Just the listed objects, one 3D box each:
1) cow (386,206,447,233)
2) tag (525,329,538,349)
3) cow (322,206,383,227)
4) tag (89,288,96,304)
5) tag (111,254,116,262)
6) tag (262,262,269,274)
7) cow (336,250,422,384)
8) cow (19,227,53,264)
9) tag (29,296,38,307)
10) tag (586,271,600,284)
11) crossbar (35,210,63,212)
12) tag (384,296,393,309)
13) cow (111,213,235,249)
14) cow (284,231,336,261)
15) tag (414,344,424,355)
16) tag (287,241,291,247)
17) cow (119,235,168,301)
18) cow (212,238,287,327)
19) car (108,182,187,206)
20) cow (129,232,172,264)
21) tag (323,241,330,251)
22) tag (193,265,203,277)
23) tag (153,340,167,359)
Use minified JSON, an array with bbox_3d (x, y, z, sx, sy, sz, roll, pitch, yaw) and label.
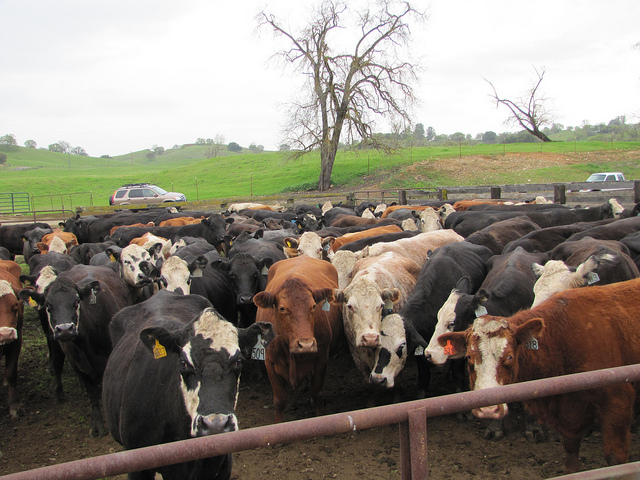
[{"bbox_3d":[2.828,-0.605,13.652,0.656,1.062,2.154,-11,6,-27],"label":"cow"},{"bbox_3d":[2.008,0.964,4.433,0.082,0.106,0.107,-10,8,-21],"label":"tag"},{"bbox_3d":[1.090,-0.761,15.318,1.490,0.771,0.519,-10,33,-15],"label":"cow"},{"bbox_3d":[-3.029,0.748,6.241,0.080,0.238,0.174,-6,7,-27],"label":"tag"},{"bbox_3d":[-3.825,0.361,8.688,0.064,0.106,0.201,0,-11,-7],"label":"tag"},{"bbox_3d":[-0.879,0.474,7.821,0.131,0.149,0.149,0,6,0],"label":"tag"},{"bbox_3d":[0.890,0.858,6.788,0.838,1.189,2.391,-2,1,8],"label":"cow"},{"bbox_3d":[-8.213,0.090,13.541,0.718,1.071,2.054,-1,14,-31],"label":"cow"},{"bbox_3d":[-3.963,0.863,6.521,0.106,0.188,0.047,-3,10,16],"label":"tag"},{"bbox_3d":[3.185,0.440,5.456,0.118,0.121,0.122,2,-11,26],"label":"tag"},{"bbox_3d":[-15.792,-1.684,27.452,0.892,0.086,5.398,-6,6,-26],"label":"crossbar"},{"bbox_3d":[0.902,0.817,6.126,0.150,0.168,0.060,-6,7,-27],"label":"tag"},{"bbox_3d":[-3.920,-0.225,12.493,2.556,1.278,0.831,-3,12,3],"label":"cow"},{"bbox_3d":[-0.189,0.114,9.356,0.469,0.498,0.909,-2,-5,14],"label":"cow"},{"bbox_3d":[1.220,1.346,5.745,0.011,0.169,0.132,-7,11,-34],"label":"tag"},{"bbox_3d":[-0.612,0.078,9.387,0.064,0.118,0.029,-3,-4,39],"label":"tag"},{"bbox_3d":[-3.481,0.533,9.018,0.708,1.245,2.322,-6,12,-21],"label":"cow"},{"bbox_3d":[-1.591,0.743,8.921,1.039,1.648,3.216,-3,11,-17],"label":"cow"},{"bbox_3d":[-11.278,-2.941,30.054,4.028,1.285,2.046,-6,6,-24],"label":"car"},{"bbox_3d":[-3.667,0.188,10.478,0.493,0.724,1.338,-16,20,-29],"label":"cow"},{"bbox_3d":[0.137,0.124,9.623,0.133,0.218,0.412,0,-9,-3],"label":"tag"},{"bbox_3d":[-1.902,0.487,7.473,0.202,0.195,0.141,1,-4,-13],"label":"tag"},{"bbox_3d":[-1.340,0.914,3.927,0.102,0.155,0.048,-2,6,10],"label":"tag"}]
